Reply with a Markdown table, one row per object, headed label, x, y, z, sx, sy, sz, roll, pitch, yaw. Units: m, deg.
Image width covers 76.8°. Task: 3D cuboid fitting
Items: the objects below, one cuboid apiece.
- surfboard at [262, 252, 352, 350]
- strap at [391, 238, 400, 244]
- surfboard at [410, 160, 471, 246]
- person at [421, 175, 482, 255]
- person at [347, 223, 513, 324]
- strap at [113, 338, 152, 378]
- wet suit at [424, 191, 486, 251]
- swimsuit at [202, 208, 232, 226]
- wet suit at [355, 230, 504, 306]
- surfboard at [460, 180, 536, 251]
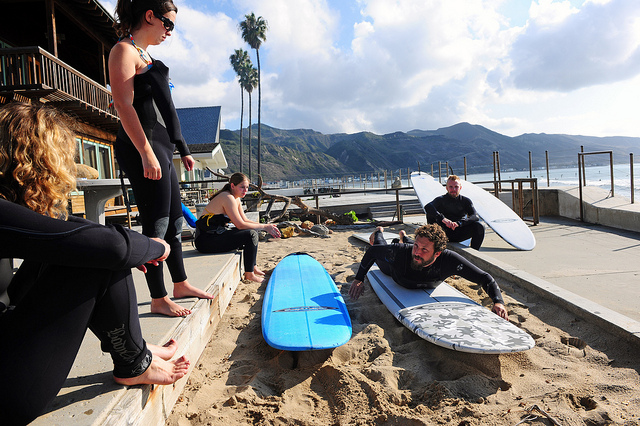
| label | x | y | z | sx | sy | sz | roll | pitch | yaw |
| --- | --- | --- | --- | --- | --- | --- | --- | --- | --- |
| surfboard | -0.183 | 0.953 | 4.355 | 0.851 | 0.305 | 1.896 | -6 | 5 | -6 |
| strap | 0.977 | 0.348 | 5.223 | 0.116 | 0.033 | 0.116 | 12 | 19 | 38 |
| surfboard | 2.565 | -0.569 | 9.705 | 0.526 | 0.648 | 2.803 | -4 | 26 | 3 |
| person | 2.399 | 0.169 | 7.291 | 0.910 | 1.709 | 0.941 | -3 | 1 | 12 |
| person | 1.158 | 0.550 | 4.785 | 0.966 | 0.651 | 1.723 | -1 | 10 | -2 |
| strap | -1.179 | 0.923 | 2.550 | 0.168 | 0.118 | 0.237 | 7 | 27 | -1 |
| wet suit | 2.272 | 0.133 | 6.740 | 0.622 | 1.147 | 1.168 | 1 | -1 | -13 |
| swimsuit | -1.385 | 0.037 | 5.586 | 0.525 | 0.233 | 0.266 | -2 | 6 | 28 |
| wet suit | 1.148 | 0.559 | 4.631 | 0.741 | 0.363 | 1.300 | 3 | 11 | -7 |
| surfboard | 3.660 | 0.055 | 8.504 | 0.820 | 0.271 | 3.507 | 5 | 21 | 0 |
